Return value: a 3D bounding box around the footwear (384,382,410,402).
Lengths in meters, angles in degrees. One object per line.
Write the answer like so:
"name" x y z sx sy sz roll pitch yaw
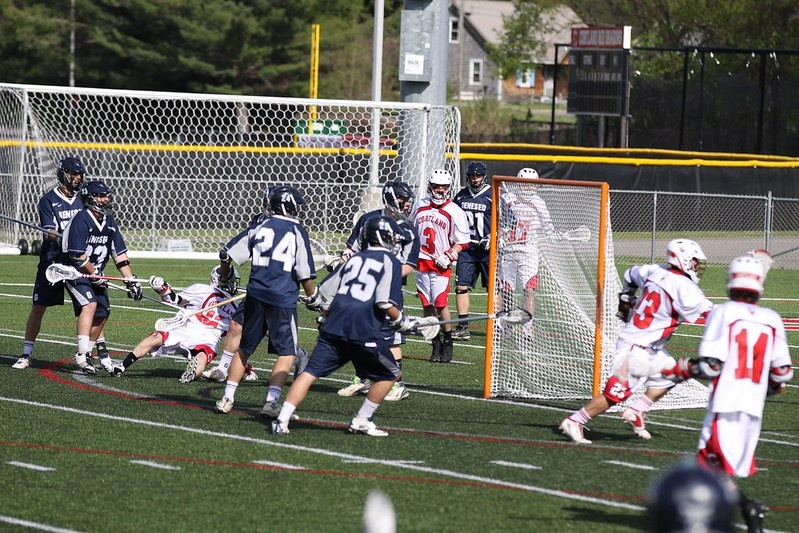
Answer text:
"footwear" -0.059 1.392 10.928 0.132 0.172 0.361 -3 -2 37

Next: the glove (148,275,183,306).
"glove" -2.730 0.332 11.812 0.222 0.208 0.650 -6 -29 18

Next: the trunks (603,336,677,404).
"trunks" 2.300 0.992 9.612 0.777 0.613 0.337 0 13 -3

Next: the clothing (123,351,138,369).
"clothing" -3.089 1.064 11.356 0.115 0.179 0.240 1 3 -38

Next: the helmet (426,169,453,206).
"helmet" 0.524 -1.014 12.697 0.263 0.436 0.347 3 2 1

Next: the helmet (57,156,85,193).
"helmet" -3.946 -1.137 11.821 0.391 0.359 0.299 8 10 11

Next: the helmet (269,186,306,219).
"helmet" -1.146 -0.658 10.213 0.369 0.335 0.275 -8 11 -34

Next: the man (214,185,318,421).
"man" -1.364 0.390 10.283 1.029 2.420 0.840 5 -4 13

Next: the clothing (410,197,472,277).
"clothing" 0.525 -0.366 12.799 1.065 1.110 0.405 3 1 2

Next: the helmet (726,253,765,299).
"helmet" 2.817 0.101 7.984 0.333 0.382 0.419 8 5 28

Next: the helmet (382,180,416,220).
"helmet" -0.062 -0.776 11.350 0.413 0.375 0.328 4 -1 3

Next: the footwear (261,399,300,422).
"footwear" -1.209 1.448 10.058 0.158 0.215 0.484 3 2 39

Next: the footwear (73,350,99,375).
"footwear" -3.614 1.101 11.488 0.242 0.267 0.282 2 2 -19

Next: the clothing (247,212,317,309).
"clothing" -1.225 -0.095 10.151 0.946 0.910 0.403 14 9 21

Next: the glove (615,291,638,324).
"glove" 2.242 0.408 9.955 0.221 0.279 0.283 -3 -3 -39

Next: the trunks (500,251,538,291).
"trunks" 1.293 0.053 11.193 0.419 0.396 0.233 -7 2 -28

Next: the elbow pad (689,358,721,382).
"elbow pad" 2.415 0.803 7.818 0.199 0.109 0.249 -1 7 17

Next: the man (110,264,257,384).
"man" -2.324 0.583 11.602 1.184 0.608 1.604 21 34 10

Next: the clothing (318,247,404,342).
"clothing" -0.341 0.287 9.630 0.927 0.905 0.503 6 -1 31

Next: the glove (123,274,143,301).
"glove" -3.187 0.262 11.959 0.216 0.298 0.136 2 29 31

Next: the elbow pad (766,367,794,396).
"elbow pad" 3.045 0.900 7.959 0.131 0.161 0.358 -2 -4 6

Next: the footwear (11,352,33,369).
"footwear" -4.414 1.105 11.621 0.197 0.157 0.319 2 2 -21

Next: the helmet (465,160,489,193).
"helmet" 1.100 -1.281 14.029 0.322 0.430 0.439 0 4 7

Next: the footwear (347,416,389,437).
"footwear" -0.325 1.561 9.765 0.445 0.184 0.156 6 3 -6

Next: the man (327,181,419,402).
"man" -0.288 0.274 11.236 1.006 2.440 0.838 2 2 6

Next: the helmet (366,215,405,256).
"helmet" -0.145 -0.280 9.756 0.437 0.389 0.335 3 -4 -12

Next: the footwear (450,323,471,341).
"footwear" 0.892 0.952 14.261 0.407 0.200 0.139 4 7 26

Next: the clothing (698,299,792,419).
"clothing" 2.728 0.722 7.838 0.700 0.733 0.304 4 2 12

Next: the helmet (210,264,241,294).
"helmet" -1.922 0.141 11.354 0.388 0.348 0.298 -5 13 -29

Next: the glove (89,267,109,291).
"glove" -3.476 0.138 11.502 0.251 0.099 0.185 45 11 -24

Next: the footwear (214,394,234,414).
"footwear" -1.790 1.408 10.205 0.121 0.117 0.247 3 9 -4

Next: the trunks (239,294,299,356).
"trunks" -1.317 0.572 10.042 0.621 0.697 0.267 7 12 2

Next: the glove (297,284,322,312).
"glove" -0.850 0.333 10.306 0.146 0.191 0.418 -12 24 -32

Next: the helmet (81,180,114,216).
"helmet" -3.502 -0.811 11.449 0.413 0.368 0.320 3 6 -3

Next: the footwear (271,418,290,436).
"footwear" -1.140 1.555 9.606 0.136 0.172 0.182 -3 -20 1

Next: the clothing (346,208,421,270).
"clothing" -0.130 -0.282 10.566 0.737 0.770 0.324 2 13 -3

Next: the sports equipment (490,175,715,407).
"sports equipment" 2.213 0.214 11.515 2.039 2.359 2.093 3 2 34

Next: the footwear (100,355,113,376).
"footwear" -3.327 1.116 11.403 0.123 0.264 0.098 -11 5 16

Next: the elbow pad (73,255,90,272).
"elbow pad" -3.628 -0.039 11.349 0.165 0.192 0.105 2 2 -19

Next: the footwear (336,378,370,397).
"footwear" -0.468 1.352 11.269 0.475 0.226 0.165 -3 10 -11

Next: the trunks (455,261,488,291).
"trunks" 1.014 0.118 14.007 0.549 0.474 0.196 -3 1 -35

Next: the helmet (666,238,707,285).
"helmet" 2.762 -0.064 9.544 0.411 0.401 0.321 5 5 4
